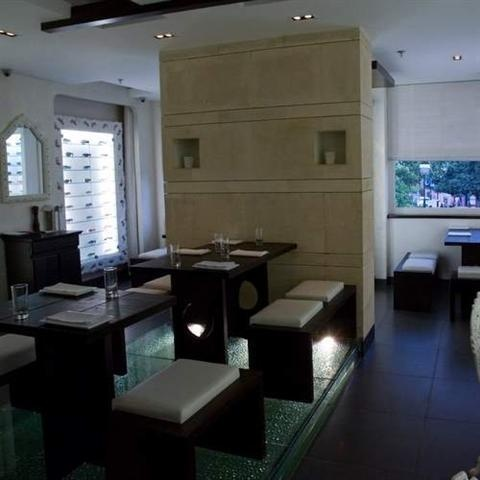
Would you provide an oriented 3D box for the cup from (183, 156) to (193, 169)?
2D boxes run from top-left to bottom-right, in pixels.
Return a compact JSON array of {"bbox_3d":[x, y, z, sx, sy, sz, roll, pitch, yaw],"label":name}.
[{"bbox_3d":[-0.519,-0.768,4.223,0.098,0.139,0.105,-1,0,0],"label":"cup"}]

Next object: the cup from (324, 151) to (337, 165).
[{"bbox_3d":[0.787,-0.706,3.685,0.101,0.136,0.111,1,6,24],"label":"cup"}]
